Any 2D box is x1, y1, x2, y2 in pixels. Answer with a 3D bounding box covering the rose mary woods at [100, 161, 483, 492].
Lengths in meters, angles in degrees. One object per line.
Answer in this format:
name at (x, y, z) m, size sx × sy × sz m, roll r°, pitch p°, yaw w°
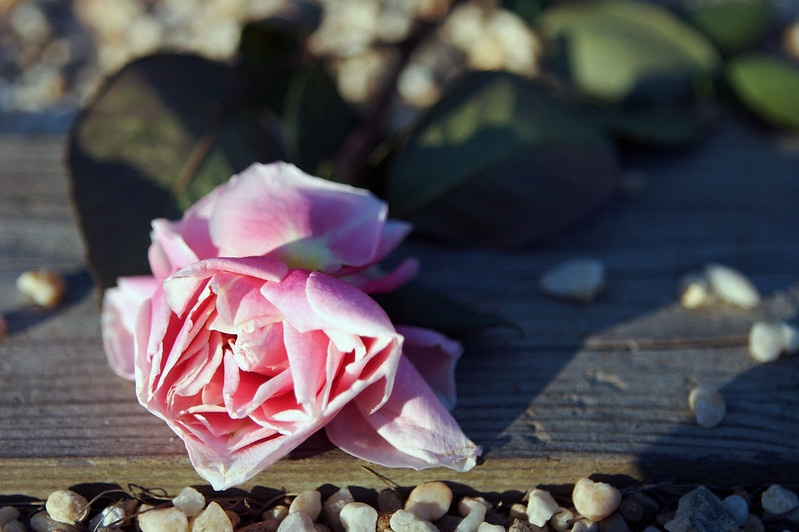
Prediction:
rose mary woods at (-0.091, 0.103, 1.483) m, size 0.413 × 0.172 × 0.421 m, roll 29°, pitch 44°, yaw 7°
